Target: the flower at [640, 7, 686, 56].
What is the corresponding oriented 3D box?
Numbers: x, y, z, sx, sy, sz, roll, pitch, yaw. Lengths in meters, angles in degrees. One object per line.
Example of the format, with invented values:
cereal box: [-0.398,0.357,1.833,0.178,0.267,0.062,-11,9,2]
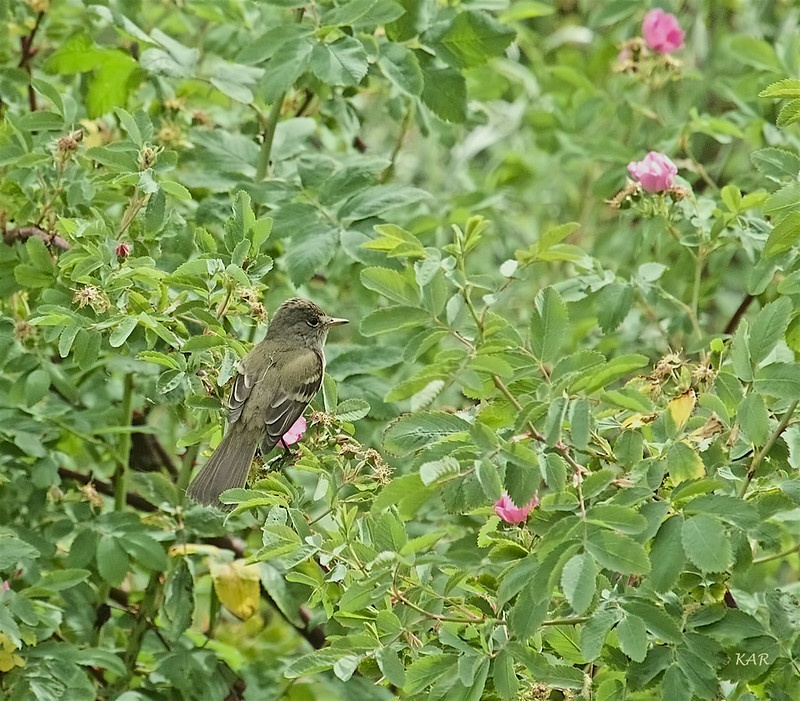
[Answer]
flower: [1.156,-1.370,4.570,0.205,0.112,0.164,-8,89,-36]
